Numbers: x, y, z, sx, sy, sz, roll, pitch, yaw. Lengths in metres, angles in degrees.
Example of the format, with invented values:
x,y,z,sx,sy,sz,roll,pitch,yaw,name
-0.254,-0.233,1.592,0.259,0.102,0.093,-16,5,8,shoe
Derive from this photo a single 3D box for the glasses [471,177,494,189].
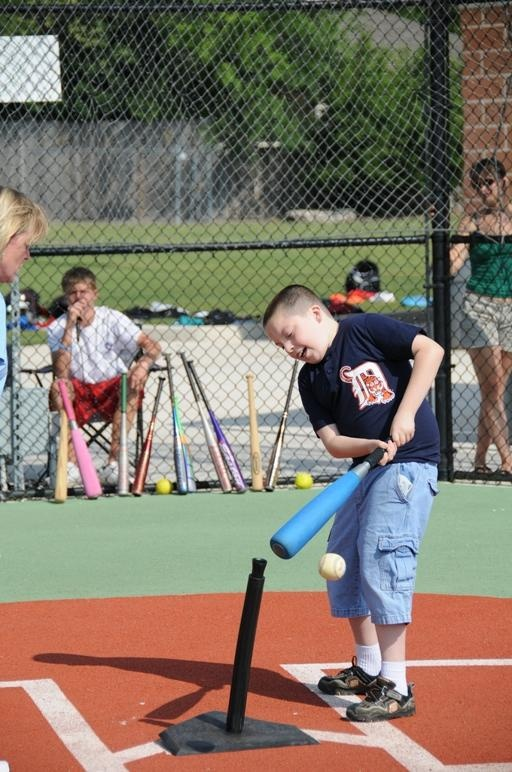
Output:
x,y,z,sx,sy,sz,roll,pitch,yaw,name
1.281,-1.133,5.219,0.065,0.073,0.153,-5,10,-20,glasses

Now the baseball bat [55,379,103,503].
x,y,z,sx,sy,sz,roll,pitch,yaw,name
-0.935,0.280,4.857,0.126,0.729,0.100,-34,-26,23,baseball bat

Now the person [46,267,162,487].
x,y,z,sx,sy,sz,roll,pitch,yaw,name
-0.904,-0.094,5.378,0.817,1.107,0.881,-5,22,-32,person

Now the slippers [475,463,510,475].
x,y,z,sx,sy,sz,roll,pitch,yaw,name
1.320,0.465,5.129,0.221,0.074,0.066,-2,-3,35,slippers

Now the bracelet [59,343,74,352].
x,y,z,sx,sy,sz,roll,pitch,yaw,name
-1.087,-0.215,5.308,0.059,0.035,0.050,1,-6,-5,bracelet

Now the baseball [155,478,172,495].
x,y,z,sx,sy,sz,roll,pitch,yaw,name
-0.499,0.554,5.043,0.092,0.087,0.080,10,-33,0,baseball

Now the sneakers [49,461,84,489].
x,y,z,sx,sy,sz,roll,pitch,yaw,name
-1.036,0.509,5.175,0.173,0.183,0.067,-3,-32,8,sneakers

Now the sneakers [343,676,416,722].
x,y,z,sx,sy,sz,roll,pitch,yaw,name
0.373,0.926,2.755,0.262,0.132,0.090,1,-4,-6,sneakers

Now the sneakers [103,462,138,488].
x,y,z,sx,sy,sz,roll,pitch,yaw,name
-0.770,0.500,5.263,0.200,0.160,0.129,7,-8,-20,sneakers

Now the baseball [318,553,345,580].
x,y,z,sx,sy,sz,roll,pitch,yaw,name
0.198,0.483,2.498,0.083,0.079,0.075,-2,1,2,baseball

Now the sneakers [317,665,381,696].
x,y,z,sx,sy,sz,roll,pitch,yaw,name
0.286,0.919,2.891,0.226,0.086,0.077,2,-2,-2,sneakers
